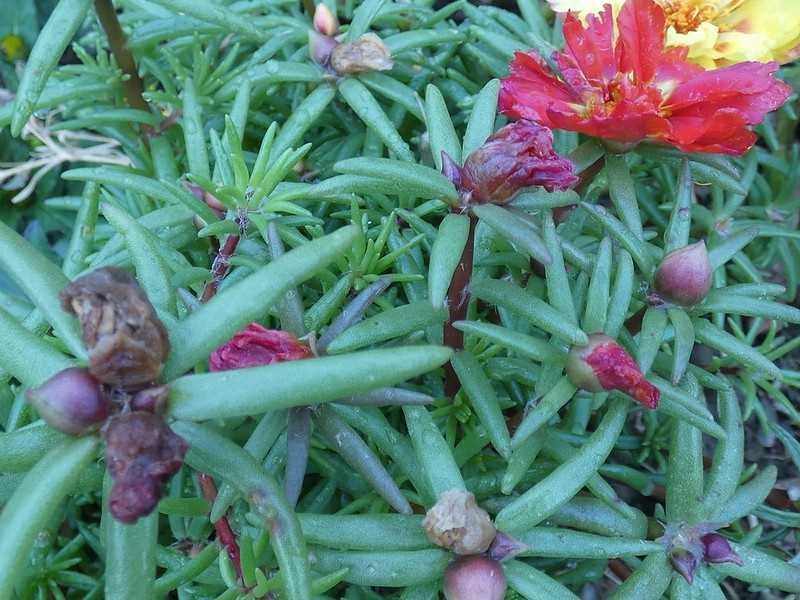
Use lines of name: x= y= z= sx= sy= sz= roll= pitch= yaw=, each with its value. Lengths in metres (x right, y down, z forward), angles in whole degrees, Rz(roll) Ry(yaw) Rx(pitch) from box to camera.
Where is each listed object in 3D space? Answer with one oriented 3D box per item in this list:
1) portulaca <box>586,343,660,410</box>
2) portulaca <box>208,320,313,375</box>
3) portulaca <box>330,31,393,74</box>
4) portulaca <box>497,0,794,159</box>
portulaca: x=0.319 y=0.105 z=1.233 sx=0.116 sy=0.045 sz=0.068 roll=44 pitch=90 yaw=6
portulaca: x=-0.202 y=0.053 z=1.173 sx=0.104 sy=0.043 sz=0.080 roll=-9 pitch=4 yaw=-18
portulaca: x=-0.069 y=-0.442 z=1.516 sx=0.094 sy=0.072 sz=0.026 roll=-7 pitch=0 yaw=-2
portulaca: x=0.374 y=-0.346 z=1.322 sx=0.324 sy=0.317 sz=0.131 roll=25 pitch=45 yaw=3
